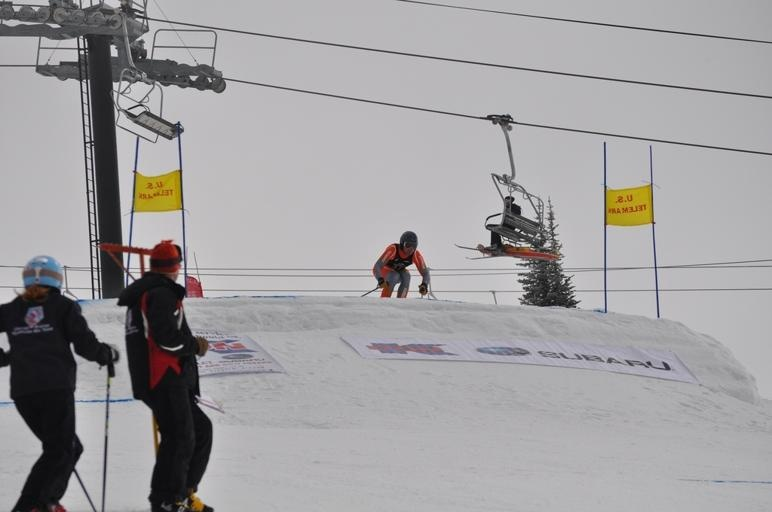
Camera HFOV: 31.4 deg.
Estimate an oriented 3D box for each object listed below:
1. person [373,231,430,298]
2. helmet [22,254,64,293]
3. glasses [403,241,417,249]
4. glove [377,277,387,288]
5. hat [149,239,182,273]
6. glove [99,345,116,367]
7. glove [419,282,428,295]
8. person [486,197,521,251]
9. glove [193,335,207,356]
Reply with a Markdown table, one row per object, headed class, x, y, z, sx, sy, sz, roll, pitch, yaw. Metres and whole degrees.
| class | x | y | z | sx | sy | sz | roll | pitch | yaw |
| --- | --- | --- | --- | --- | --- | --- | --- | --- | --- |
| person | 0.312 | 0.189 | 27.124 | 1.096 | 1.288 | 0.744 | 1 | -2 | -21 |
| helmet | -4.208 | 0.247 | 16.790 | 0.487 | 0.450 | 0.571 | 3 | 5 | 1 |
| glasses | 0.440 | -0.218 | 26.390 | 0.243 | 0.106 | 0.295 | 5 | -21 | -11 |
| glove | -0.099 | 0.537 | 26.979 | 0.183 | 0.284 | 0.206 | -1 | 12 | 8 |
| hat | -2.720 | 0.035 | 16.927 | 0.482 | 0.373 | 0.324 | -7 | 14 | -3 |
| glove | -3.671 | 1.310 | 18.143 | 0.130 | 0.343 | 0.162 | 7 | -15 | -36 |
| glove | 0.731 | 0.663 | 27.056 | 0.163 | 0.163 | 0.451 | 4 | 3 | 8 |
| person | 2.430 | -0.661 | 27.566 | 0.516 | 1.032 | 0.808 | 1 | -2 | -15 |
| glove | -2.395 | 1.190 | 18.064 | 0.245 | 0.207 | 0.233 | 3 | -15 | -27 |
